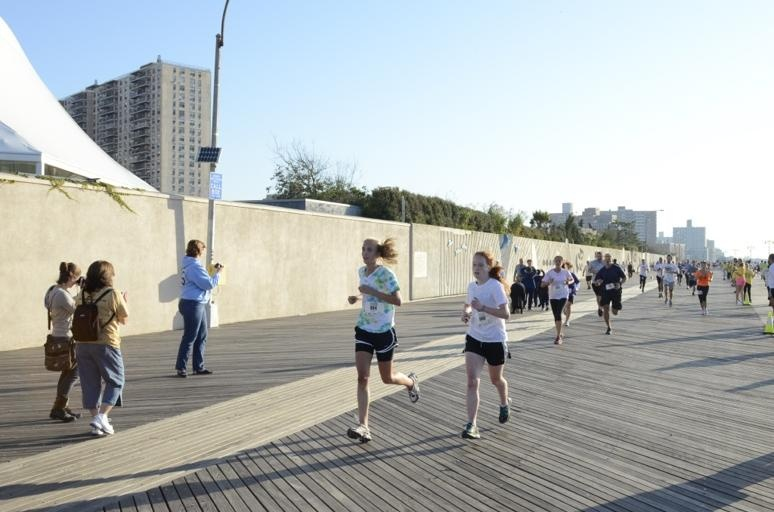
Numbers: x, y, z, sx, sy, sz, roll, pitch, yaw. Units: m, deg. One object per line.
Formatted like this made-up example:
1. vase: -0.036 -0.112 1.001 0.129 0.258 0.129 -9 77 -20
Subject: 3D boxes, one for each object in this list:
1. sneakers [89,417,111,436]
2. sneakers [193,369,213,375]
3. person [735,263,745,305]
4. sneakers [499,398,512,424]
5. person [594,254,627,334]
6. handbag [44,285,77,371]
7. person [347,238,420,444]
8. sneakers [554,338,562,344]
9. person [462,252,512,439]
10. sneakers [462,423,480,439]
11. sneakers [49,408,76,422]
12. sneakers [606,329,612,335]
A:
1. sneakers: -3.921 2.386 8.937 0.152 0.194 0.407 11 -26 25
2. sneakers: -3.388 2.139 11.860 0.337 0.154 0.121 -2 -4 3
3. person: 14.874 1.101 26.916 0.424 1.925 1.449 4 8 30
4. sneakers: 1.753 2.315 9.494 0.150 0.418 0.139 18 -14 -39
5. person: 5.875 0.990 16.933 0.728 2.144 0.849 3 7 19
6. handbag: -4.763 1.059 9.359 0.415 1.255 0.595 -3 8 -27
7. person: -0.071 1.156 9.043 0.708 2.768 1.107 2 7 10
8. sneakers: 4.114 2.025 15.278 0.092 0.143 0.291 -5 -9 26
9. person: 1.410 1.237 9.187 0.689 2.566 1.008 3 7 23
10. sneakers: 1.188 2.436 8.941 0.324 0.165 0.138 16 -26 -32
11. sneakers: -4.752 2.334 9.405 0.290 0.132 0.200 1 -3 6
12. sneakers: 5.859 1.982 16.839 0.120 0.208 0.189 -9 -22 21
